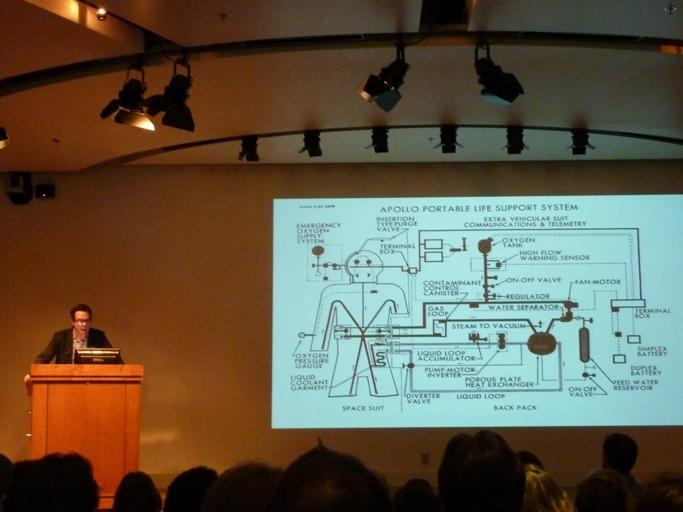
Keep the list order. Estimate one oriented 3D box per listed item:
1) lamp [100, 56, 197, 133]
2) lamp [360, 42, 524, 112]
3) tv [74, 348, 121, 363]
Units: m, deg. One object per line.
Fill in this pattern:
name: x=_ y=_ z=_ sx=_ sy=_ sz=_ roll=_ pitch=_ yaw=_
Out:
lamp: x=-1.417 y=-1.186 z=5.932 sx=0.641 sy=0.540 sz=0.408 roll=1 pitch=-12 yaw=-6
lamp: x=0.727 y=-1.339 z=5.955 sx=1.103 sy=0.501 sz=0.346 roll=-1 pitch=-32 yaw=5
tv: x=-1.839 y=0.744 z=6.143 sx=0.321 sy=0.106 sz=0.055 roll=2 pitch=-12 yaw=-13
